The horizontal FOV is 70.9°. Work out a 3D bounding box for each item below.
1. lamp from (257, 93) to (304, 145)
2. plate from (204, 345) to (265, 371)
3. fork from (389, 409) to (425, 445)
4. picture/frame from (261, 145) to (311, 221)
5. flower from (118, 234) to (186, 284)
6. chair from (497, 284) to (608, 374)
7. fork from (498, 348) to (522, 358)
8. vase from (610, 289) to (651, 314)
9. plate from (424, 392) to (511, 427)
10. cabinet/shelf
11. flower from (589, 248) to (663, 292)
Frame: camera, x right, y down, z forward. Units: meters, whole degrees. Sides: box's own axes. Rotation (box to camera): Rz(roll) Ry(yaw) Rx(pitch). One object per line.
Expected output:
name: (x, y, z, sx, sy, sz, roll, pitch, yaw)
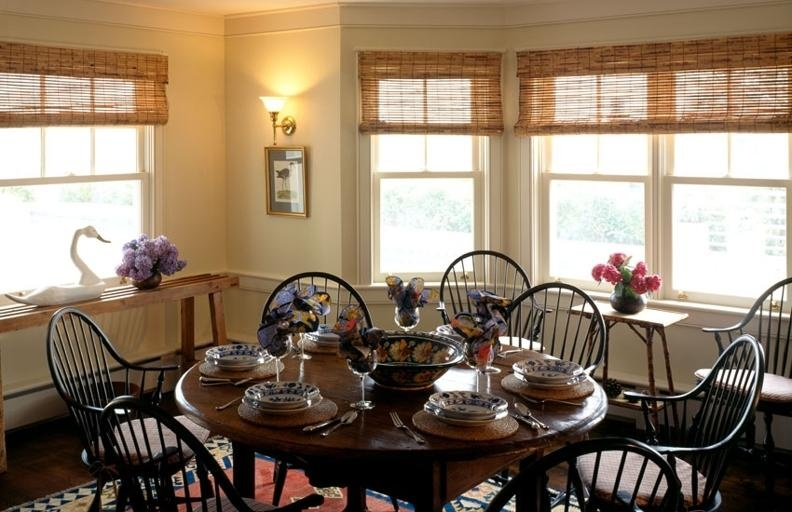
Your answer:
lamp: (-0.991, -1.184, 4.832, 0.302, 0.398, 0.241, 7, 9, 37)
plate: (-0.849, 0.542, 2.992, 0.182, 0.035, 0.179, 1, 10, 7)
fork: (0.044, 0.741, 2.387, 0.050, 0.046, 0.331, -7, 10, -17)
picture/frame: (-0.945, -0.665, 4.883, 0.471, 0.599, 0.093, 8, 16, 28)
flower: (-1.846, -0.004, 4.323, 0.371, 0.394, 0.432, 9, 14, 24)
chair: (1.119, 0.501, 3.855, 0.789, 1.029, 0.705, 1, -4, 17)
fork: (0.672, 0.553, 3.240, 0.050, 0.036, 0.220, 0, 8, 40)
vase: (1.704, 0.326, 4.023, 0.198, 0.171, 0.182, -1, 1, -12)
plate: (0.317, 0.671, 2.481, 0.313, 0.091, 0.330, 5, 9, 43)
cabinet/shelf: (1.814, 0.744, 4.300, 0.741, 0.963, 0.888, -7, 10, -44)
flower: (1.695, 0.127, 4.027, 0.480, 0.299, 0.328, 8, 9, 22)
